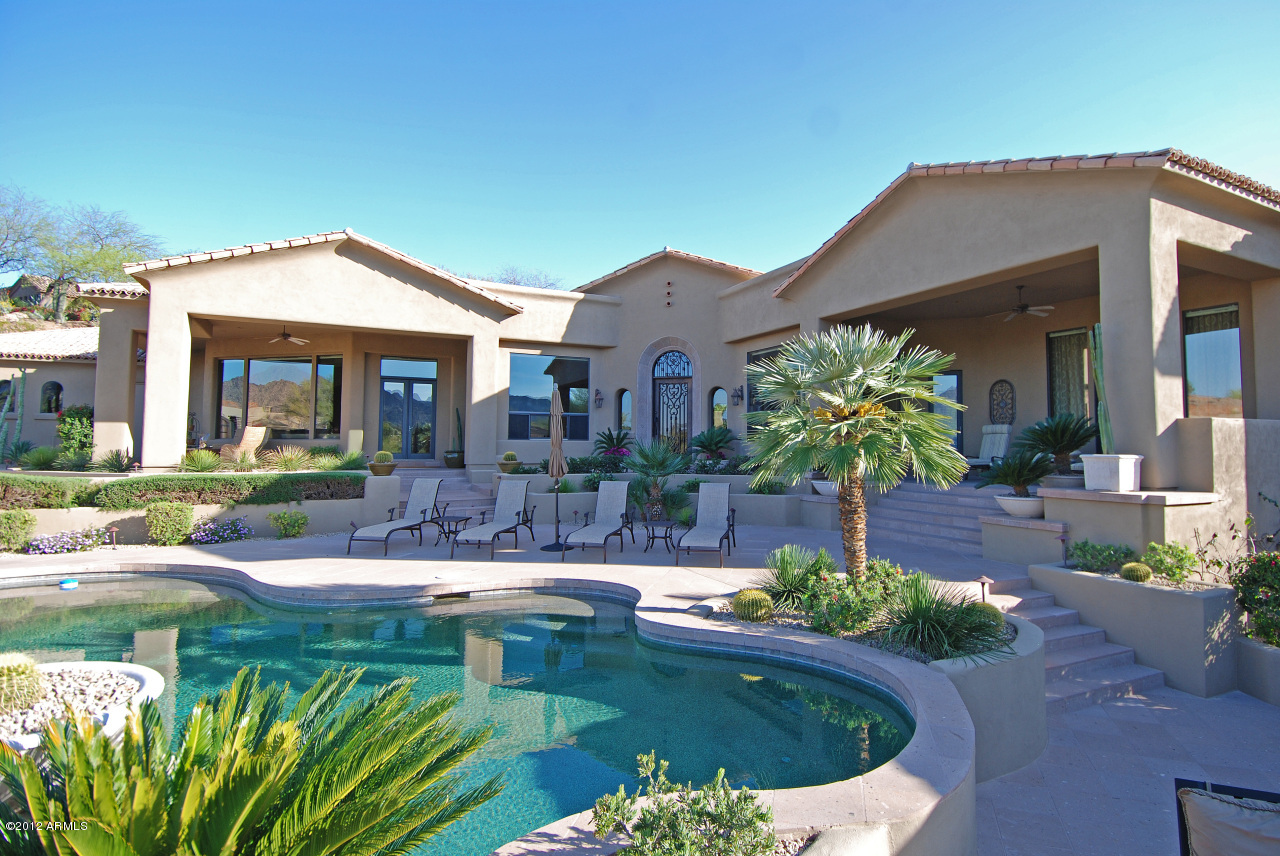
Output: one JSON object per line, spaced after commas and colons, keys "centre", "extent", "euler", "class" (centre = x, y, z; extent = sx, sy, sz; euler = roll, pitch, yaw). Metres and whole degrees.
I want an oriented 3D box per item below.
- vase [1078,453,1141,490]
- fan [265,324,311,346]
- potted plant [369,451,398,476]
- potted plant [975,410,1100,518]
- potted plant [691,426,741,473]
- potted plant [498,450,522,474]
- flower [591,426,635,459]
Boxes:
{"centre": [8.983, 0.876, 17.004], "extent": [0.707, 0.600, 0.812], "euler": [4, -5, -41], "class": "vase"}
{"centre": [-10.497, -2.704, 26.395], "extent": [1.224, 0.483, 0.827], "euler": [1, -5, -10], "class": "fan"}
{"centre": [-6.696, 0.948, 23.239], "extent": [0.673, 0.648, 0.632], "euler": [5, -8, -42], "class": "potted plant"}
{"centre": [8.304, 0.789, 19.015], "extent": [1.925, 2.512, 2.271], "euler": [2, 2, -27], "class": "potted plant"}
{"centre": [2.060, 0.683, 25.919], "extent": [1.257, 1.286, 1.286], "euler": [-2, -3, 32], "class": "potted plant"}
{"centre": [-3.659, 1.003, 24.976], "extent": [0.616, 0.554, 0.617], "euler": [2, -4, -3], "class": "potted plant"}
{"centre": [-0.770, 0.447, 26.870], "extent": [0.966, 0.869, 1.002], "euler": [-1, -6, -4], "class": "flower"}
